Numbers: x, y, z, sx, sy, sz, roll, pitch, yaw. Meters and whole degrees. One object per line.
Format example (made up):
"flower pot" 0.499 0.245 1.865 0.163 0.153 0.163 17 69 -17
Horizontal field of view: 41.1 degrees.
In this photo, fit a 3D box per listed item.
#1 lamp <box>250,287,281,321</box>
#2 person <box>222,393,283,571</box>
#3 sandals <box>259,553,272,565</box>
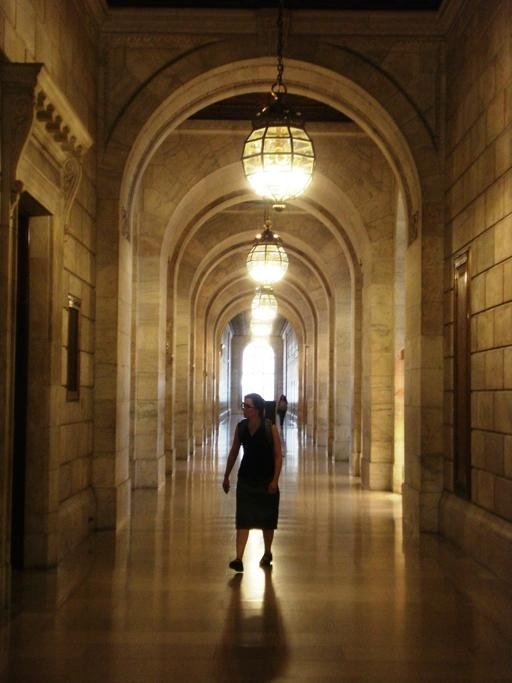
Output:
"lamp" 0.201 -0.988 17.710 0.580 0.852 0.986 0 -9 -2
"person" -0.034 1.167 5.742 0.473 1.419 0.714 0 -8 -1
"sandals" 0.081 1.829 5.720 0.063 0.100 0.219 -1 -16 2
